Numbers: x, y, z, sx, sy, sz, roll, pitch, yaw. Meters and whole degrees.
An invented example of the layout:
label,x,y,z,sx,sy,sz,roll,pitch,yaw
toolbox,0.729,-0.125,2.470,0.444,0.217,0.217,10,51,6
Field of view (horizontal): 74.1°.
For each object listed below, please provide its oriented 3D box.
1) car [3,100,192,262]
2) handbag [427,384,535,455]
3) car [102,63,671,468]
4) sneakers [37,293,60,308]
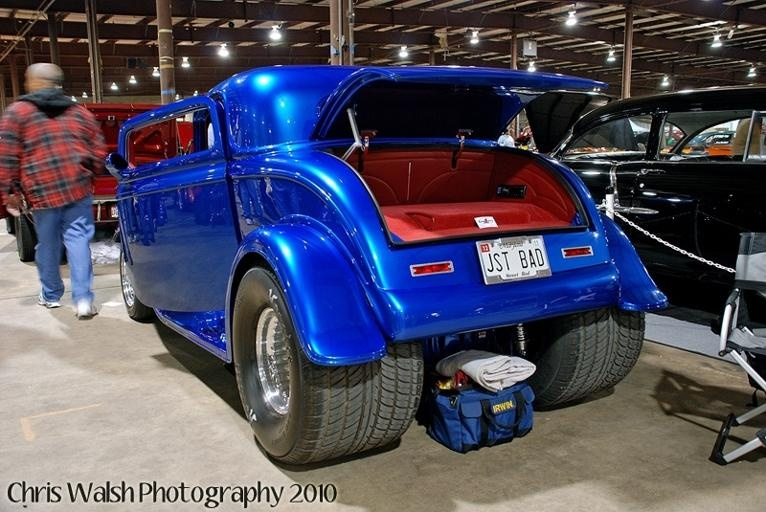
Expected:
label,x,y,z,sx,sy,sz,roll,pitch,yaw
car,-5.300,-1.692,10.443,3.235,2.620,5.538,-4,8,-27
handbag,0.588,0.923,3.097,0.551,0.293,0.457,0,-4,-25
car,-0.466,-0.247,3.921,2.504,1.498,3.631,-6,16,-34
sneakers,-3.799,0.513,5.720,0.307,0.115,0.116,6,6,42
